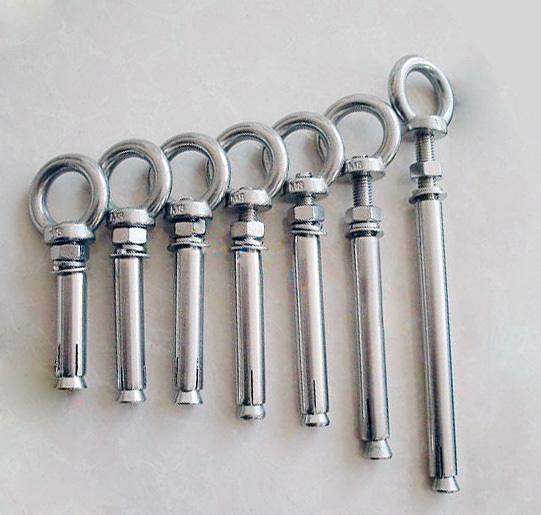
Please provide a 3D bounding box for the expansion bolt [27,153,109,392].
[{"bbox_3d":[-0.390,0.021,2.838,0.147,0.379,0.204,8,-36,-10],"label":"expansion bolt"}]
